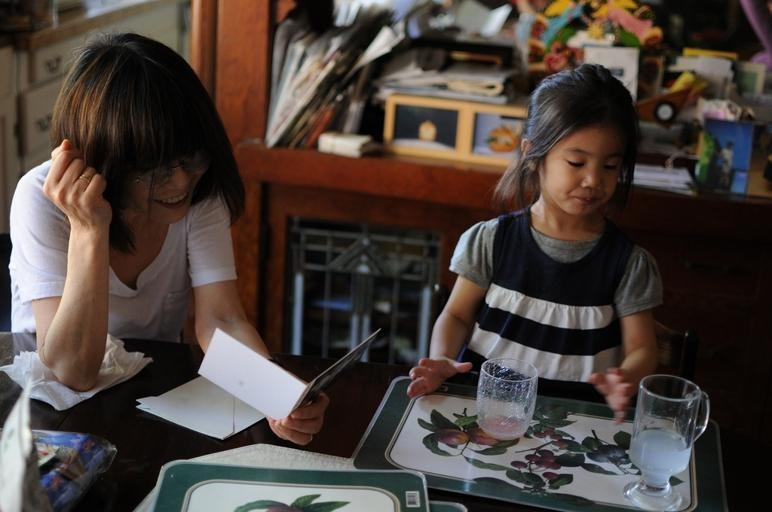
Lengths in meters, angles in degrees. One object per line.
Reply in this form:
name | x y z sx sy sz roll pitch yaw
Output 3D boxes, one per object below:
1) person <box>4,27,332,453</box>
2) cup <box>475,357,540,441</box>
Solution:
person | -0.626 -0.229 1.805 1.188 1.091 0.685 22 27 37
cup | 0.243 0.306 1.328 0.145 0.155 0.149 1 17 0
